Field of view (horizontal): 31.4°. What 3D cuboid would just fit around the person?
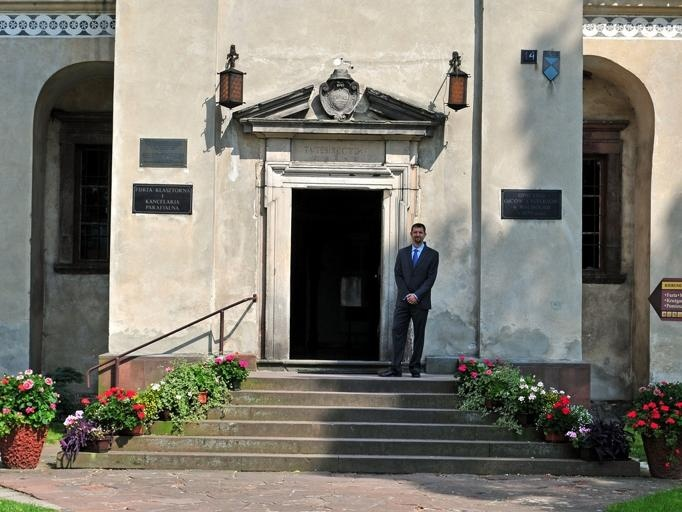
[{"bbox_3d":[1.155,0.711,19.618,0.795,2.488,0.348,3,-4,2],"label":"person"}]

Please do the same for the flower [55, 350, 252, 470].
[{"bbox_3d":[-2.825,2.257,18.504,1.873,0.617,1.982,-5,23,19],"label":"flower"}]

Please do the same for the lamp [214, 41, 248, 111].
[{"bbox_3d":[-1.820,-3.044,20.342,0.444,1.108,0.656,3,-5,-7],"label":"lamp"}]

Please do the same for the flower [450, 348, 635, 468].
[{"bbox_3d":[3.027,2.326,18.617,2.658,1.446,0.611,1,-5,20],"label":"flower"}]

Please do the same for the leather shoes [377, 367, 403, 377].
[{"bbox_3d":[0.811,1.870,19.582,0.343,0.148,0.150,3,-6,3],"label":"leather shoes"}]

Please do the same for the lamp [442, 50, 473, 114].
[{"bbox_3d":[1.995,-2.973,20.500,0.367,0.963,0.455,2,-4,4],"label":"lamp"}]
